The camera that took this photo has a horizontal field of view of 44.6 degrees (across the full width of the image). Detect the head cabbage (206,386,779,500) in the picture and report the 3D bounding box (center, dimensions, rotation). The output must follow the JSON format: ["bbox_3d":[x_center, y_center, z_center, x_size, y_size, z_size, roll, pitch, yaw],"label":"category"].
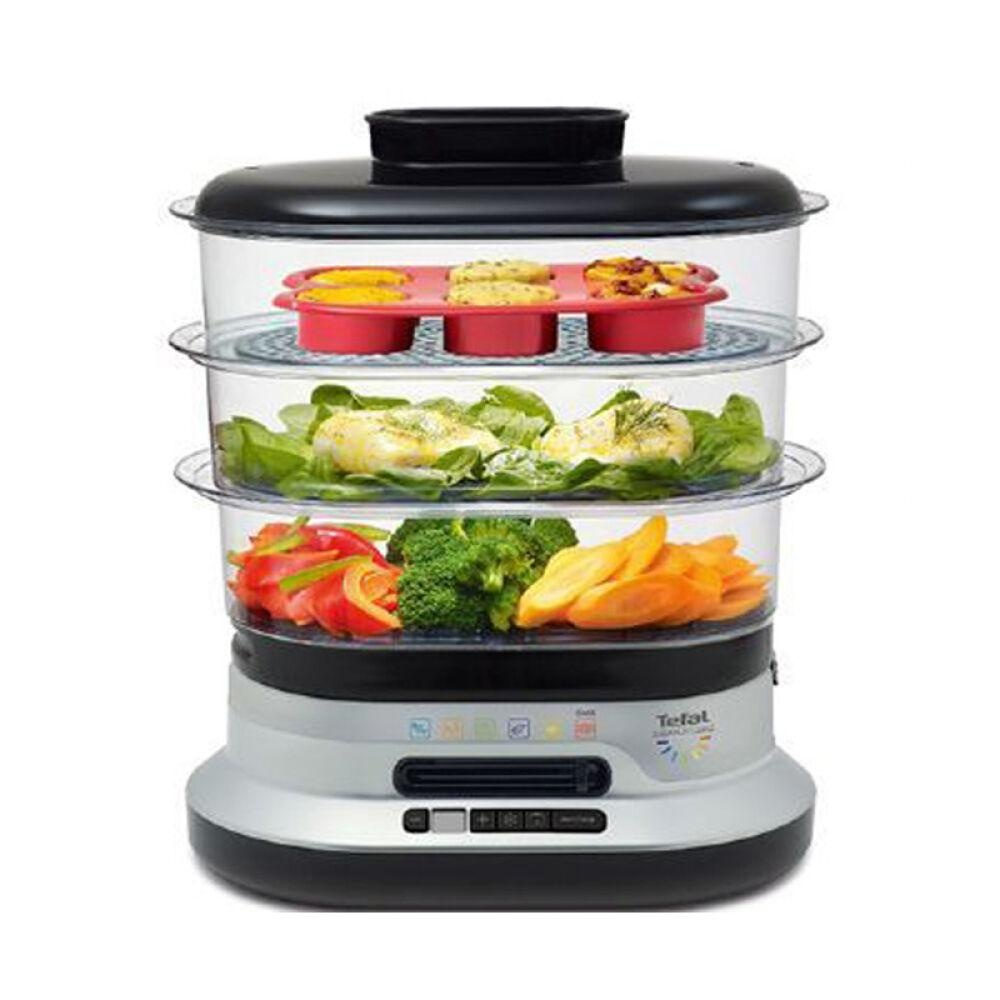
[{"bbox_3d":[-0.041,-0.134,2.737,1.254,0.265,0.342,-1,7,7],"label":"head cabbage"}]
